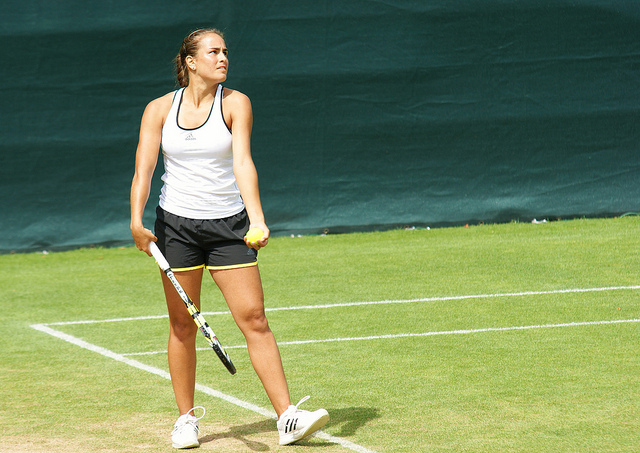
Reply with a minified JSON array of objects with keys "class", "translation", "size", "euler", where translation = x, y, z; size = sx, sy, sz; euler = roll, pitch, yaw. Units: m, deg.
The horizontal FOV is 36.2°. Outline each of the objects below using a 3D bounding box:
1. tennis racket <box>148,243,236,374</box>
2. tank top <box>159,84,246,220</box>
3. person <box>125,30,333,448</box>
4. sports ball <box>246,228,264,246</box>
[{"class":"tennis racket","translation":[-1.051,0.710,8.053],"size":[0.090,1.561,0.161],"euler":[-45,-12,-11]},{"class":"tank top","translation":[-0.864,-0.547,7.271],"size":[0.889,0.959,0.170],"euler":[-7,7,-22]},{"class":"person","translation":[-0.831,0.099,7.236],"size":[0.913,3.037,1.173],"euler":[-10,16,-26]},{"class":"sports ball","translation":[-0.477,0.072,7.122],"size":[0.119,0.103,0.111],"euler":[-12,15,3]}]
